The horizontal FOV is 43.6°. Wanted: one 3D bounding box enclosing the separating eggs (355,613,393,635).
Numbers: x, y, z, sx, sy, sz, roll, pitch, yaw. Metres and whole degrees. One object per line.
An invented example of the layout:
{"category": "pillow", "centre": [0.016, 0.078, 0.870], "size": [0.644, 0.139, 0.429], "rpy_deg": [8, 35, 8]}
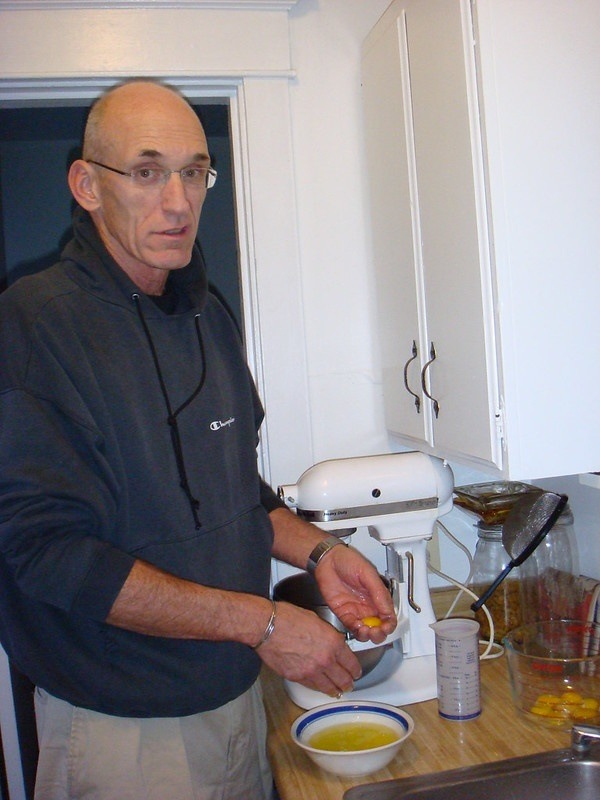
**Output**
{"category": "separating eggs", "centre": [0.114, 0.346, 1.155], "size": [0.034, 0.017, 0.043], "rpy_deg": [1, -2, 34]}

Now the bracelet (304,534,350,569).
{"category": "bracelet", "centre": [0.042, 0.257, 1.275], "size": [0.038, 0.066, 0.067], "rpy_deg": [37, 60, 28]}

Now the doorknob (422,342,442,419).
{"category": "doorknob", "centre": [0.248, -0.036, 1.438], "size": [0.023, 0.145, 0.092], "rpy_deg": [-9, 4, -5]}

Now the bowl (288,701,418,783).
{"category": "bowl", "centre": [0.080, 0.505, 1.123], "size": [0.171, 0.055, 0.168], "rpy_deg": [-6, 6, 1]}

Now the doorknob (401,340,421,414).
{"category": "doorknob", "centre": [0.228, -0.046, 1.543], "size": [0.024, 0.148, 0.083], "rpy_deg": [-9, 4, -5]}

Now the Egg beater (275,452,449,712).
{"category": "Egg beater", "centre": [0.111, 0.324, 1.455], "size": [0.425, 0.442, 0.323], "rpy_deg": [-1, -2, -25]}
